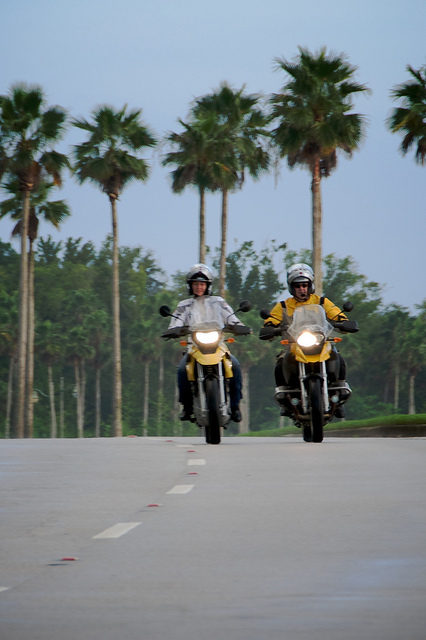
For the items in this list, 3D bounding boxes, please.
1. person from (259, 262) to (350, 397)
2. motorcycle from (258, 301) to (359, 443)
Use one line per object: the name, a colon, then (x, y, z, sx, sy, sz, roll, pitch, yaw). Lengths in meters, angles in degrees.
person: (1.040, -0.103, 14.950, 0.860, 0.961, 1.713, -2, -9, 3)
motorcycle: (1.121, 0.501, 14.687, 1.200, 1.497, 2.428, 0, 3, 5)
